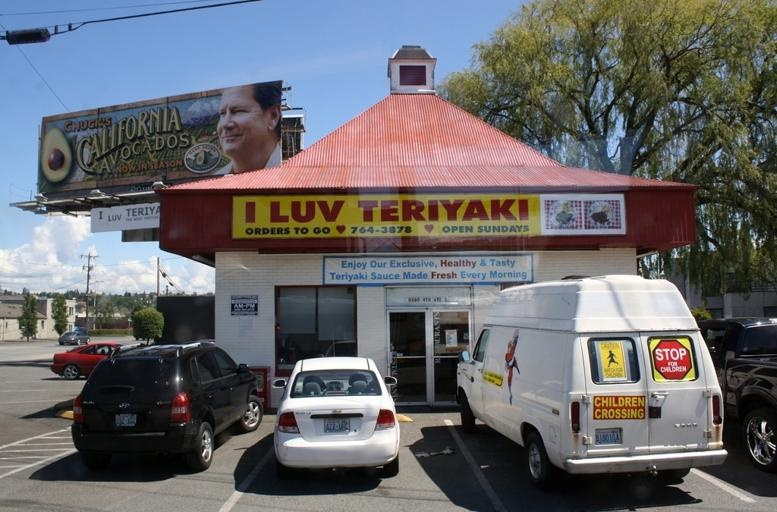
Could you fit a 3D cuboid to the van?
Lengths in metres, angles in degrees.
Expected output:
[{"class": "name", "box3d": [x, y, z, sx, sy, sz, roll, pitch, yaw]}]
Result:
[{"class": "van", "box3d": [4.978, 3.009, 18.503, 6.148, 4.899, 2.640, 4, 12, 25]}]

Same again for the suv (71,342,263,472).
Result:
[{"class": "suv", "box3d": [-5.881, 3.952, 19.926, 4.599, 3.018, 2.332, -6, 12, -24]}]

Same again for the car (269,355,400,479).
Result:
[{"class": "car", "box3d": [-1.365, 4.255, 19.110, 2.946, 2.521, 1.843, -3, 11, -10]}]
